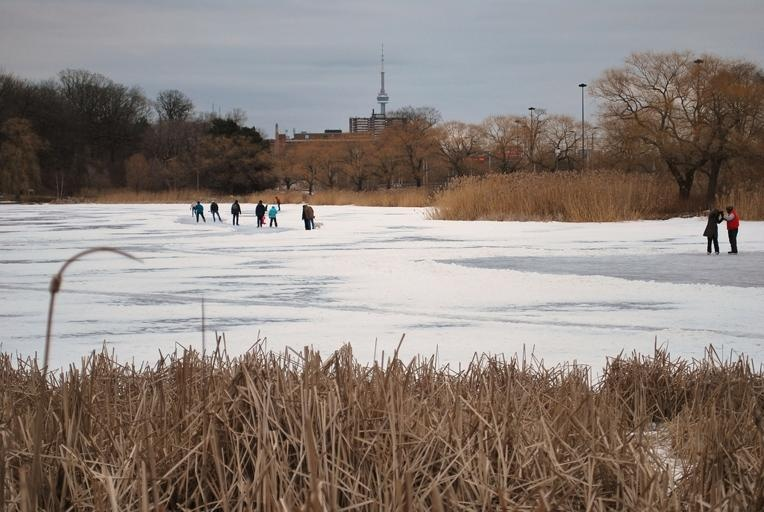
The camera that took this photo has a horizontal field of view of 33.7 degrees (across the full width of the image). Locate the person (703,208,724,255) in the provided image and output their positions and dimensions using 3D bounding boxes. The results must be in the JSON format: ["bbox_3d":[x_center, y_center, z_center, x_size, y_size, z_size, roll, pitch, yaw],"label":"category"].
[{"bbox_3d":[12.198,-0.974,46.277,0.711,1.630,2.938,0,2,15],"label":"person"}]
